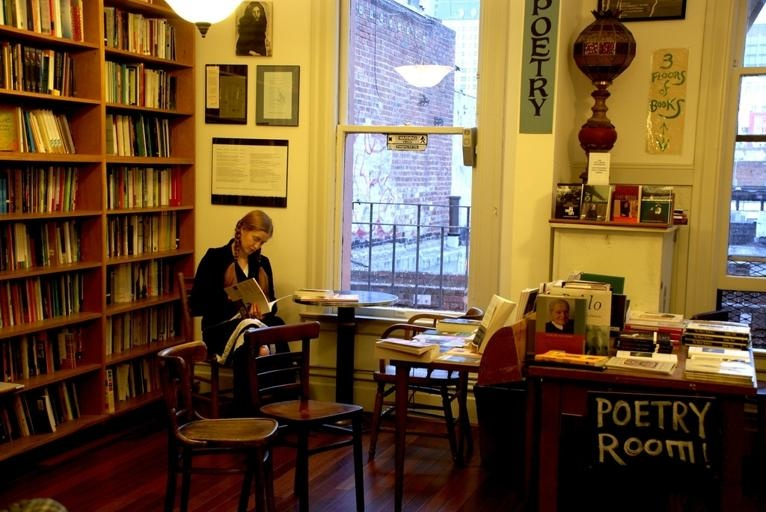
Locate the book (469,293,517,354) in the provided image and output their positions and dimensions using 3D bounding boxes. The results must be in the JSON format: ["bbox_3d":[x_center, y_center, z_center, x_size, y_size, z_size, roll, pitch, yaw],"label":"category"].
[{"bbox_3d":[0.646,0.425,3.767,0.293,0.355,0.366,4,8,23],"label":"book"}]

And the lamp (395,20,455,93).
[{"bbox_3d":[0.383,-1.791,5.451,0.564,0.184,0.560,-4,-6,-5],"label":"lamp"}]

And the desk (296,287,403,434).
[{"bbox_3d":[-0.473,0.782,5.097,0.994,1.054,0.955,2,2,17],"label":"desk"}]

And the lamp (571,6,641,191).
[{"bbox_3d":[1.766,-1.440,4.915,0.375,1.190,0.310,-4,9,-31],"label":"lamp"}]

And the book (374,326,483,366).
[{"bbox_3d":[0.325,0.583,3.995,0.418,0.103,0.470,1,3,23],"label":"book"}]

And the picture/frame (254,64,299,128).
[{"bbox_3d":[-0.968,-1.512,5.680,0.615,0.760,0.027,1,8,7],"label":"picture/frame"}]

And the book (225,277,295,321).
[{"bbox_3d":[-0.898,0.326,4.747,0.458,0.172,0.410,0,36,-25],"label":"book"}]

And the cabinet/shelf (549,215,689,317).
[{"bbox_3d":[1.828,0.094,5.029,0.816,0.756,0.607,3,9,14],"label":"cabinet/shelf"}]

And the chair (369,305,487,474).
[{"bbox_3d":[0.266,0.999,5.045,0.822,1.072,0.827,1,-8,12],"label":"chair"}]

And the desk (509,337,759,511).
[{"bbox_3d":[1.346,0.922,3.274,0.994,0.893,1.004,1,-1,34],"label":"desk"}]
